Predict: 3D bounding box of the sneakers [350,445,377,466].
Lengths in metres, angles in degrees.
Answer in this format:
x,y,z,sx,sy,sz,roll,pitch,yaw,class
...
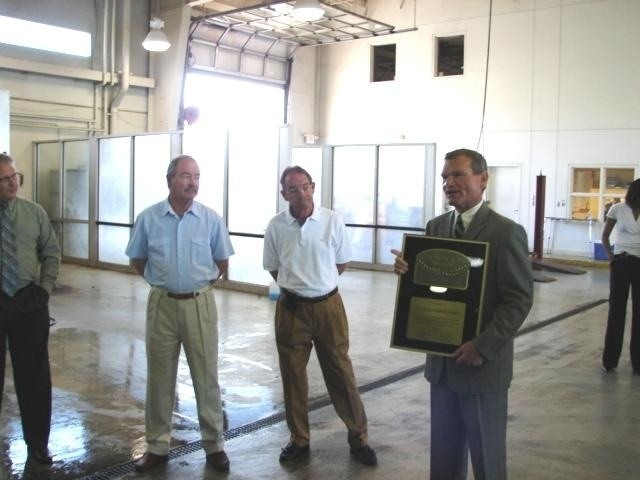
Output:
x,y,z,sx,sy,sz,roll,pitch,yaw,class
0.305,1.498,3.684,0.081,0.104,0.210,2,-7,-27,sneakers

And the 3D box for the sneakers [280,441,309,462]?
x,y,z,sx,sy,sz,roll,pitch,yaw,class
-0.175,1.485,3.717,0.095,0.091,0.206,-5,-13,39,sneakers

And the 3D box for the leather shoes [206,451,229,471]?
x,y,z,sx,sy,sz,roll,pitch,yaw,class
-0.684,1.504,3.587,0.075,0.089,0.197,0,-5,-31,leather shoes

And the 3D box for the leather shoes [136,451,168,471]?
x,y,z,sx,sy,sz,roll,pitch,yaw,class
-1.135,1.489,3.575,0.228,0.167,0.085,11,-10,-26,leather shoes

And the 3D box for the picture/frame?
x,y,z,sx,sy,sz,roll,pitch,yaw,class
0.664,0.297,2.840,0.564,0.827,0.076,7,3,14,picture/frame

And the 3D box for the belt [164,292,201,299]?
x,y,z,sx,sy,sz,roll,pitch,yaw,class
-0.919,0.378,3.569,0.206,0.043,0.037,0,6,-8,belt

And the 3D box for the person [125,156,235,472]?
x,y,z,sx,sy,sz,roll,pitch,yaw,class
-0.943,0.492,3.610,0.692,2.095,0.479,-1,6,-12,person

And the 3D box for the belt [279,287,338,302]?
x,y,z,sx,sy,sz,roll,pitch,yaw,class
-0.077,0.381,3.705,0.401,0.078,0.155,1,6,0,belt

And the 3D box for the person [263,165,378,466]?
x,y,z,sx,sy,sz,roll,pitch,yaw,class
-0.001,0.620,3.778,0.804,1.823,0.554,0,6,-6,person

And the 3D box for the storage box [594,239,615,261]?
x,y,z,sx,sy,sz,roll,pitch,yaw,class
5.379,0.190,10.050,0.339,0.471,0.461,5,7,44,storage box
